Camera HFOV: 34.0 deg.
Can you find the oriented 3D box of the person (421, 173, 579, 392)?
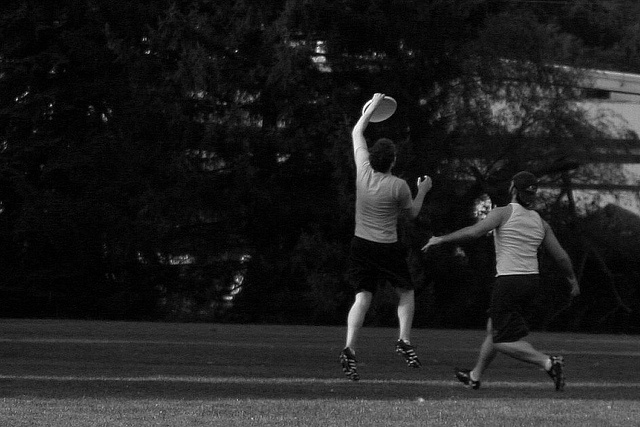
[{"bbox_3d":[2.079,0.823,12.207,1.376,2.604,0.519,4,3,11],"label":"person"}]

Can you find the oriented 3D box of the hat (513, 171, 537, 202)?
[{"bbox_3d":[2.238,-0.338,12.285,0.295,0.328,0.346,7,29,-1],"label":"hat"}]

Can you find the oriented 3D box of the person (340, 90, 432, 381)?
[{"bbox_3d":[0.665,0.275,12.646,0.874,3.405,0.604,4,3,-1],"label":"person"}]

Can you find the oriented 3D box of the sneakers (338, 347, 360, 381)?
[{"bbox_3d":[0.226,1.849,12.526,0.182,0.460,0.235,-11,21,25],"label":"sneakers"}]

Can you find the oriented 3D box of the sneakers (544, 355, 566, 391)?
[{"bbox_3d":[2.520,1.829,11.978,0.175,0.403,0.173,-5,-6,-13],"label":"sneakers"}]
